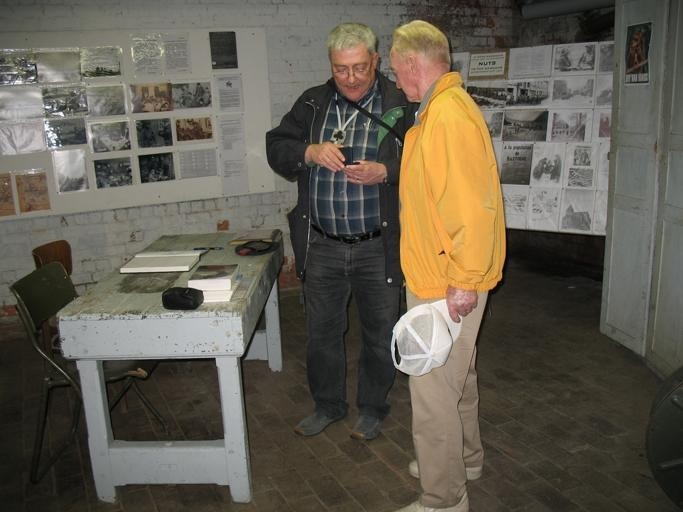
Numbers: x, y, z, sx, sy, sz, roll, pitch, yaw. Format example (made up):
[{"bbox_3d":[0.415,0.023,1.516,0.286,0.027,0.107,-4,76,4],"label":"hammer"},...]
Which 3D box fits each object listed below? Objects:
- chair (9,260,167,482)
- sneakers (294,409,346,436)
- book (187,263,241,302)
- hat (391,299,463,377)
[{"bbox_3d":[-1.666,0.742,3.796,1.007,1.381,0.965,-1,12,4],"label":"chair"},{"bbox_3d":[-0.163,1.183,3.842,0.390,0.160,0.144,-11,12,-25],"label":"sneakers"},{"bbox_3d":[-0.769,0.160,3.235,0.287,0.121,0.428,-4,15,-8],"label":"book"},{"bbox_3d":[0.442,0.409,2.742,0.401,0.281,0.208,-43,-14,17],"label":"hat"}]
